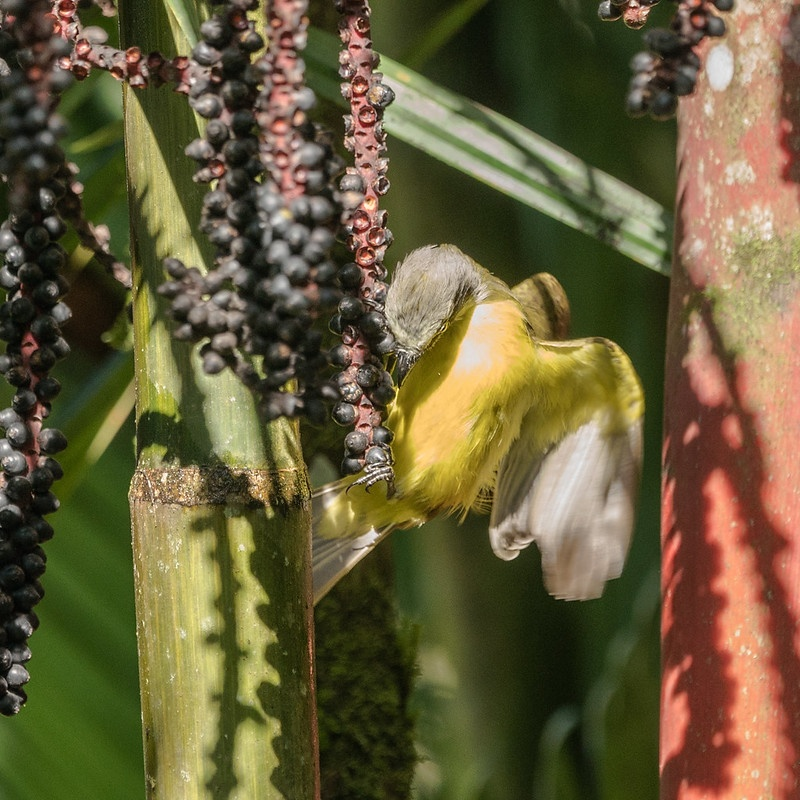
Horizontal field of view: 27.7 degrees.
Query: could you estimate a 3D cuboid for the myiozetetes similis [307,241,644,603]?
[{"bbox_3d":[0.109,0.023,1.656,0.297,0.386,0.163,-5,40,18],"label":"myiozetetes similis"}]
